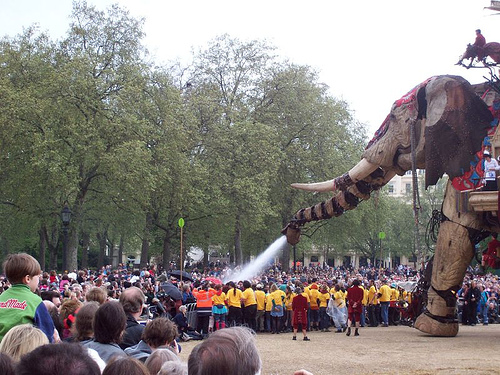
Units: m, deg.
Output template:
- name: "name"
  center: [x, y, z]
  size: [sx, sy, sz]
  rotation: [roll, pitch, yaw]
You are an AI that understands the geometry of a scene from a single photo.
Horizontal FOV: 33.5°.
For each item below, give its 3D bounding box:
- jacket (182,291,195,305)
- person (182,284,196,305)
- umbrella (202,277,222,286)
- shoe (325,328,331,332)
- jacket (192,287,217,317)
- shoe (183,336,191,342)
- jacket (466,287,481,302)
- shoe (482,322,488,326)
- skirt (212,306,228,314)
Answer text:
- name: "jacket"
  center: [-2.112, 3.906, 29.081]
  size: [0.452, 0.437, 0.359]
  rotation: [-2, -2, 3]
- name: "person"
  center: [-2.138, 3.744, 29.013]
  size: [0.306, 0.682, 0.821]
  rotation: [-1, -12, 12]
- name: "umbrella"
  center: [-1.341, 3.735, 33.080]
  size: [0.567, 0.165, 0.379]
  rotation: [14, -7, -43]
- name: "shoe"
  center: [2.997, 5.502, 31.928]
  size: [0.090, 0.148, 0.246]
  rotation: [5, 7, 38]
- name: "jacket"
  center: [-1.430, 3.992, 29.273]
  size: [0.633, 1.073, 1.133]
  rotation: [-13, 5, -44]
- name: "shoe"
  center: [-2.098, 5.080, 27.768]
  size: [0.216, 0.189, 0.550]
  rotation: [0, -12, 9]
- name: "jacket"
  center: [9.336, 4.503, 35.025]
  size: [0.859, 0.832, 0.490]
  rotation: [0, -10, 9]
- name: "shoe"
  center: [9.850, 5.749, 34.840]
  size: [0.144, 0.206, 0.211]
  rotation: [5, -10, -30]
- name: "skirt"
  center: [-1.061, 4.346, 29.291]
  size: [0.448, 0.283, 0.241]
  rotation: [1, -11, -7]
